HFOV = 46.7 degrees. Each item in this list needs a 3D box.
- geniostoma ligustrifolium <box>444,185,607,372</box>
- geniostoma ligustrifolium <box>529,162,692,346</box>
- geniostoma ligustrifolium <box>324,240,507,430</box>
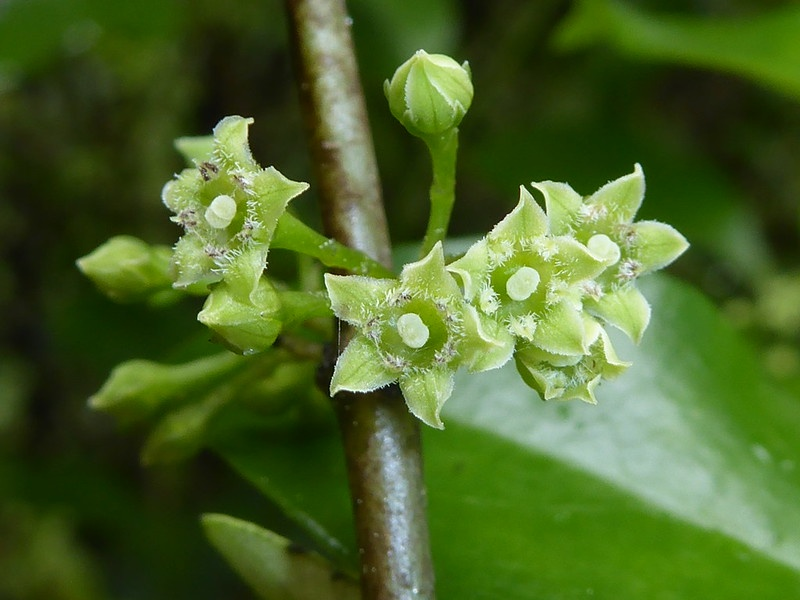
[{"bbox_3d":[0.279,-0.031,1.978,0.356,0.149,0.403,-11,90,-3],"label":"geniostoma ligustrifolium"},{"bbox_3d":[0.499,-0.148,2.245,0.422,0.439,0.182,18,81,-21],"label":"geniostoma ligustrifolium"},{"bbox_3d":[0.028,0.086,2.007,0.356,0.150,0.419,3,51,-5],"label":"geniostoma ligustrifolium"}]
